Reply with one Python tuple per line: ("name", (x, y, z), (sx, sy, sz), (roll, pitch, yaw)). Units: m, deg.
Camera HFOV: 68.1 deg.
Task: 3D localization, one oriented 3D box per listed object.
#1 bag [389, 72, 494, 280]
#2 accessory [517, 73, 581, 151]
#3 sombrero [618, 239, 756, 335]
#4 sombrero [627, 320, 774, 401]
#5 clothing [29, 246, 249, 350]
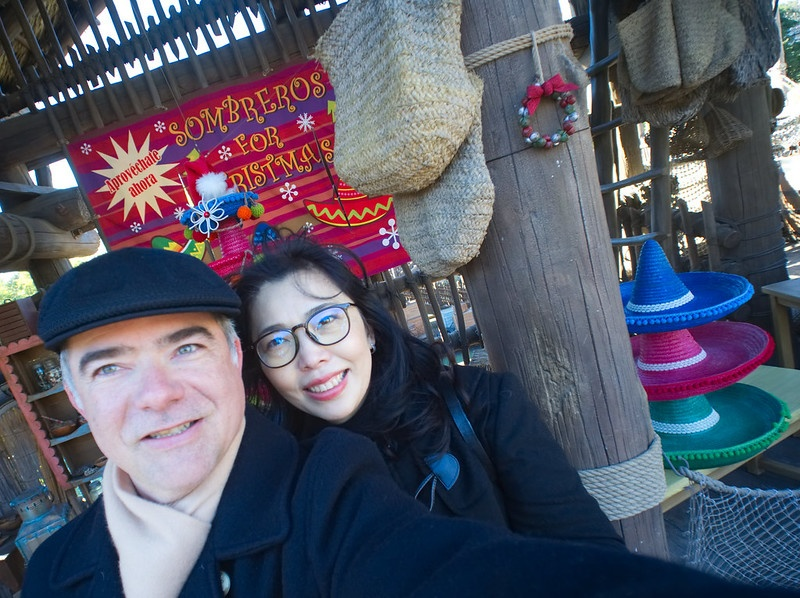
("bag", (0.069, -0.495, 2.355), (0.182, 0.698, 0.512), (-1, -16, -33))
("accessory", (0.599, -0.707, 2.277), (0.254, 0.280, 0.090), (-9, 11, -3))
("sombrero", (1.460, 0.026, 3.098), (0.606, 0.281, 0.662), (-24, 4, 7))
("sombrero", (1.593, 0.331, 3.088), (0.593, 0.237, 0.553), (-20, 5, 26))
("clothing", (-0.934, -0.022, 2.068), (0.657, 0.378, 0.174), (-15, 5, -5))
